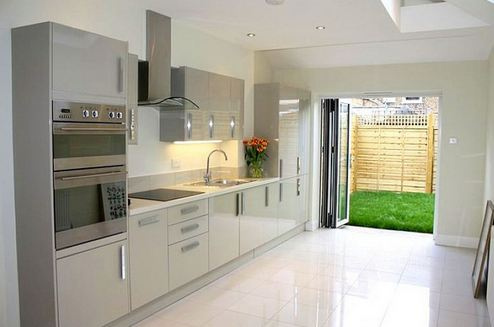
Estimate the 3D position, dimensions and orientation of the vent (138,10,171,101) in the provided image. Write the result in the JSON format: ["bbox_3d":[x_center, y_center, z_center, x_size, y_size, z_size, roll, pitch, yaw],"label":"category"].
[{"bbox_3d":[-1.005,-1.284,4.129,0.477,1.027,0.118,7,10,13],"label":"vent"}]

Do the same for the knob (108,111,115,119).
[{"bbox_3d":[-1.253,-0.460,3.155,0.052,0.048,0.014,-1,4,-43],"label":"knob"}]

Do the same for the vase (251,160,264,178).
[{"bbox_3d":[0.177,0.079,5.685,0.213,0.273,0.253,0,7,1],"label":"vase"}]

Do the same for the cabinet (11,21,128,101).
[{"bbox_3d":[-1.669,-0.916,3.259,0.558,0.619,0.999,10,14,19],"label":"cabinet"}]

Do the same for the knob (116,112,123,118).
[{"bbox_3d":[-1.210,-0.463,3.219,0.011,0.043,0.046,-1,5,17],"label":"knob"}]

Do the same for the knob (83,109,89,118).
[{"bbox_3d":[-1.424,-0.447,2.997,0.027,0.073,0.055,4,4,44],"label":"knob"}]

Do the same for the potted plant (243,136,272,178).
[{"bbox_3d":[0.183,-0.120,5.704,0.425,0.680,0.369,2,8,16],"label":"potted plant"}]
